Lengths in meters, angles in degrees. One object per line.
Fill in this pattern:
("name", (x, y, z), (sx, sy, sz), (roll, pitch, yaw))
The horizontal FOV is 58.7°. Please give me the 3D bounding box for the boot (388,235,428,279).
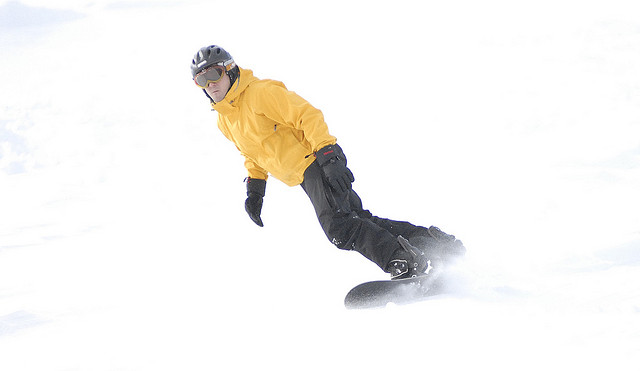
("boot", (1.237, 0.914, 7.218), (0.600, 0.478, 0.416), (-18, -9, 14))
